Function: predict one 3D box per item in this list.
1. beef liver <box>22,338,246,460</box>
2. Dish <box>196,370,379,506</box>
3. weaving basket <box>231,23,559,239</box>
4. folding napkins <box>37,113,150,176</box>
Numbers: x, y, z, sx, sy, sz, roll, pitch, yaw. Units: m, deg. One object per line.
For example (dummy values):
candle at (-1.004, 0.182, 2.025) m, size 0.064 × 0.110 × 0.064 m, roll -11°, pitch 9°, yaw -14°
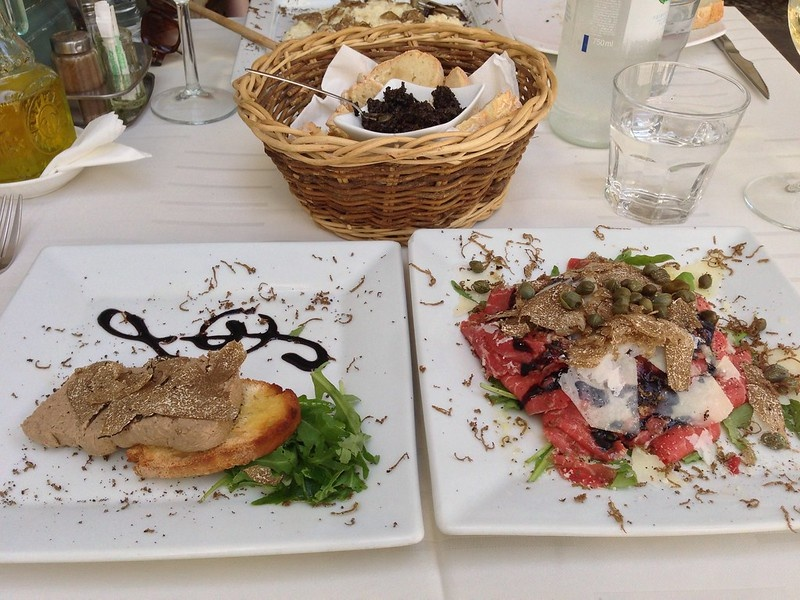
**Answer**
beef liver at (-0.417, 0.159, 1.090) m, size 0.318 × 0.079 × 0.180 m, roll -2°, pitch 35°, yaw -5°
Dish at (-0.149, 0.248, 1.051) m, size 0.189 × 0.082 × 0.257 m, roll 32°, pitch 54°, yaw 25°
weaving basket at (0.045, -0.305, 1.521) m, size 0.608 × 0.261 × 0.614 m, roll 10°, pitch 36°, yaw 18°
folding napkins at (-0.680, -0.344, 1.555) m, size 0.180 × 0.049 × 0.186 m, roll -18°, pitch 46°, yaw -16°
